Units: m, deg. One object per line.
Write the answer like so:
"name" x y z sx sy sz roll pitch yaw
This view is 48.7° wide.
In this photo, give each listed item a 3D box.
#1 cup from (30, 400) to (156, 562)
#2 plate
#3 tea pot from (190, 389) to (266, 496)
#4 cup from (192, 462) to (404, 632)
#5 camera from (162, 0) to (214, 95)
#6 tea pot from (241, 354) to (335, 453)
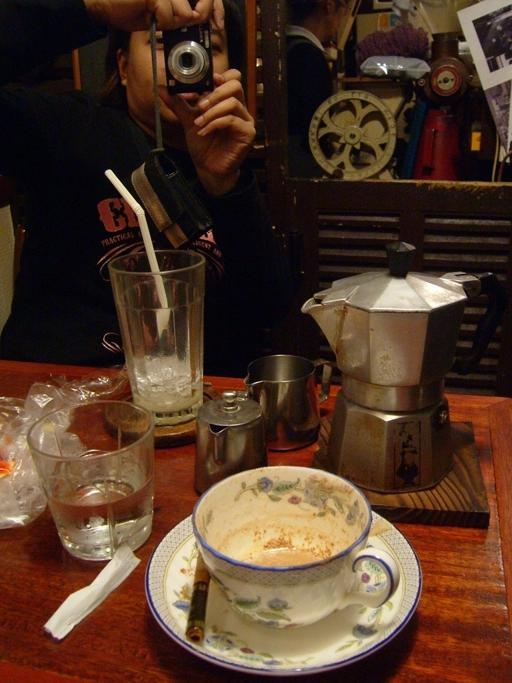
"cup" -0.146 0.135 0.612 0.106 0.116 0.163 -2 24 -1
"plate" 0.032 0.197 0.421 0.140 0.020 0.136 -5 19 -19
"tea pot" -0.028 0.110 0.669 0.075 0.114 0.122 2 21 9
"cup" 0.037 0.146 0.456 0.123 0.056 0.102 18 24 31
"camera" -0.137 -0.570 1.151 0.092 0.133 0.107 -2 29 -3
"tea pot" 0.053 0.072 0.817 0.137 0.117 0.103 -12 21 -25
